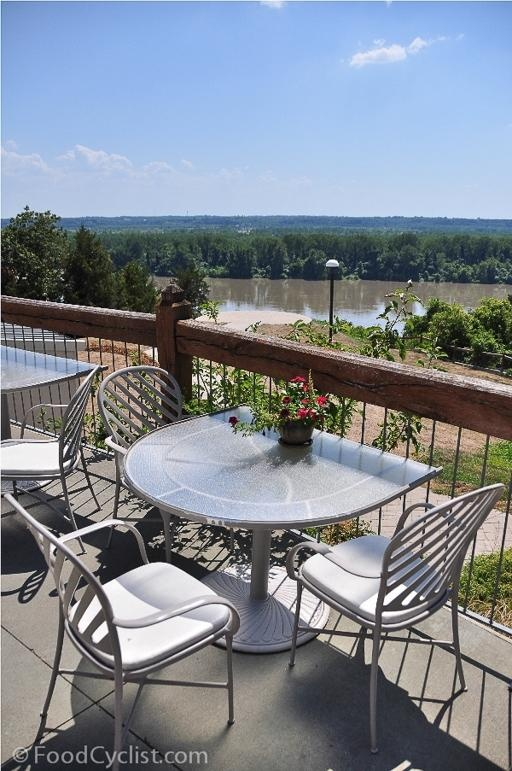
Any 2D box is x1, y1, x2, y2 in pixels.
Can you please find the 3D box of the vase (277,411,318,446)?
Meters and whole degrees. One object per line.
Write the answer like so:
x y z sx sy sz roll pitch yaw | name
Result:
0.153 0.152 2.142 0.121 0.097 0.124 -1 4 -31 | vase

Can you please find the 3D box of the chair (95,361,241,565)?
-0.486 0.396 2.932 0.570 0.878 0.536 16 26 39 | chair

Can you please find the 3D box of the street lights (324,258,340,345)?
2.095 -2.538 15.536 0.309 1.730 0.321 4 14 18 | street lights

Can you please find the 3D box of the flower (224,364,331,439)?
0.093 0.057 2.258 0.361 0.240 0.257 1 5 30 | flower

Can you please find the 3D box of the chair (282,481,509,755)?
0.429 0.611 1.752 0.495 0.830 0.621 -6 13 -31 | chair
